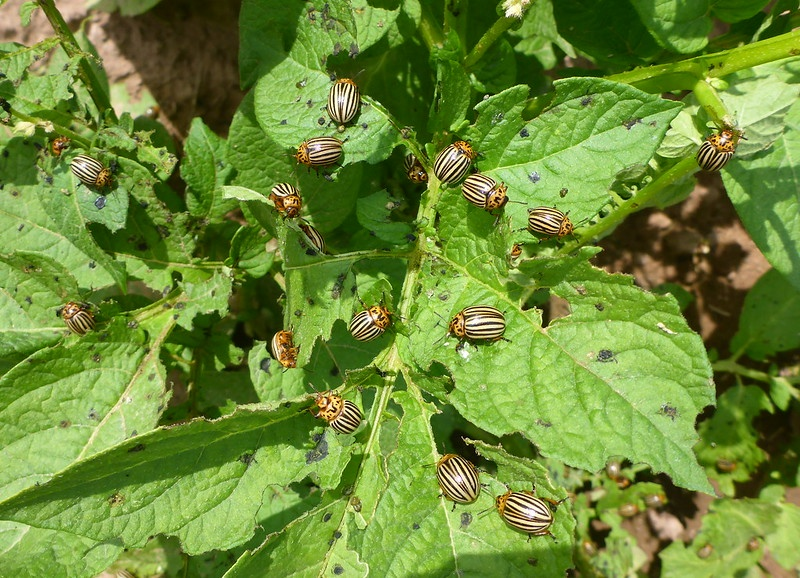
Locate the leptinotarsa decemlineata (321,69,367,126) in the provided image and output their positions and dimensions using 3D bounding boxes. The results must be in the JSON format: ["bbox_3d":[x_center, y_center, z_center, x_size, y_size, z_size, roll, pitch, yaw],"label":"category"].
[{"bbox_3d":[-0.339,-1.085,4.459,0.220,0.203,0.189,-34,45,-7],"label":"leptinotarsa decemlineata"}]

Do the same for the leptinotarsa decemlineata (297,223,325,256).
[{"bbox_3d":[-0.515,-0.313,4.451,0.067,0.147,0.191,-30,65,3],"label":"leptinotarsa decemlineata"}]

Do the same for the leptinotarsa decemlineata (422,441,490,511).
[{"bbox_3d":[0.312,1.076,4.376,0.274,0.256,0.233,-27,44,0],"label":"leptinotarsa decemlineata"}]

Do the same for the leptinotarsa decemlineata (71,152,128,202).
[{"bbox_3d":[-1.879,-0.693,4.739,0.259,0.237,0.154,-5,48,21],"label":"leptinotarsa decemlineata"}]

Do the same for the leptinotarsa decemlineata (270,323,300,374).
[{"bbox_3d":[-0.707,0.362,4.730,0.087,0.220,0.271,-5,45,-35],"label":"leptinotarsa decemlineata"}]

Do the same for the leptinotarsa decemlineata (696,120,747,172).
[{"bbox_3d":[1.774,-0.777,4.298,0.210,0.093,0.302,37,105,5],"label":"leptinotarsa decemlineata"}]

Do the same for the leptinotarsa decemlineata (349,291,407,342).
[{"bbox_3d":[-0.157,0.176,4.570,0.274,0.239,0.171,-7,47,19],"label":"leptinotarsa decemlineata"}]

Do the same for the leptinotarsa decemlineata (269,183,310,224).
[{"bbox_3d":[-0.690,-0.551,4.722,0.081,0.203,0.249,-50,52,31],"label":"leptinotarsa decemlineata"}]
